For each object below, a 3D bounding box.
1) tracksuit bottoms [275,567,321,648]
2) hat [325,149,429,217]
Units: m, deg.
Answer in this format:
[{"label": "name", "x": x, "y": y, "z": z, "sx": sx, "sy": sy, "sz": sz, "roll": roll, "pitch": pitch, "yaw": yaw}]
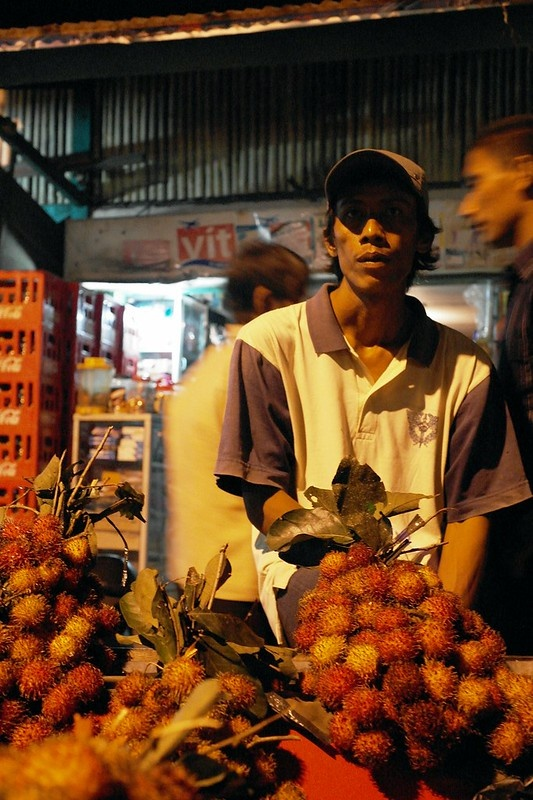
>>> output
[{"label": "tracksuit bottoms", "x": 0.051, "y": 0.374, "z": 1.586, "sx": 0.079, "sy": 0.176, "sz": 0.186, "roll": 5, "pitch": -11, "yaw": 4}, {"label": "hat", "x": 0.237, "y": -0.486, "z": 1.808, "sx": 0.221, "sy": 0.139, "sz": 0.199, "roll": 3, "pitch": 0, "yaw": 6}]
